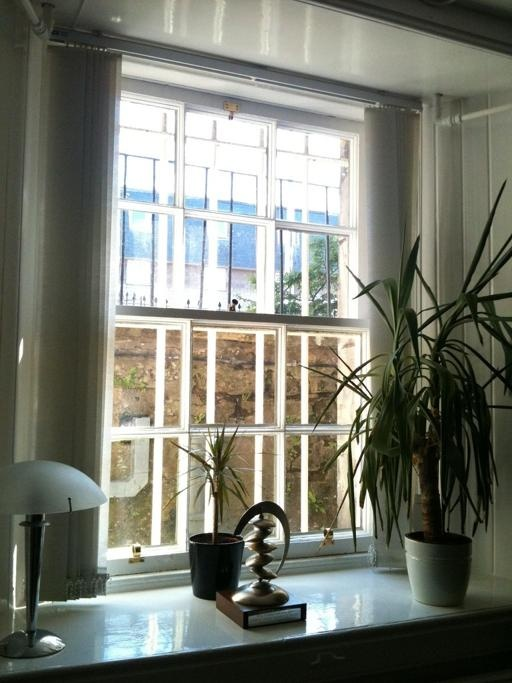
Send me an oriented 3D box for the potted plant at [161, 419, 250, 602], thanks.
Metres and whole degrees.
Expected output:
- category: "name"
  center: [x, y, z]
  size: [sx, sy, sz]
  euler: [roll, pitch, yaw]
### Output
- category: "potted plant"
  center: [-0.188, 0.599, 2.489]
  size: [0.315, 0.572, 0.547]
  euler: [0, -4, -1]
